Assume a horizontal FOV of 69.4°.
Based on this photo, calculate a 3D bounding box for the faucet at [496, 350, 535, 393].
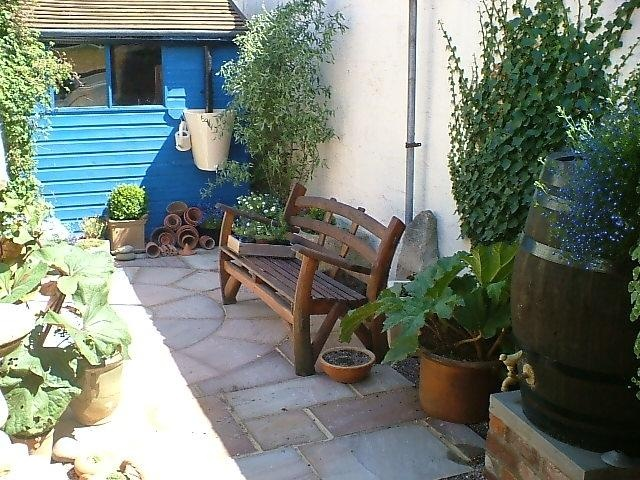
[{"bbox_3d":[0.830,0.568,1.974,0.119,0.164,0.094,-4,-5,33],"label":"faucet"}]

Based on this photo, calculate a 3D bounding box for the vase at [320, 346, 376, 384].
[{"bbox_3d":[0.200,0.921,3.405,0.414,0.152,0.420,0,8,8],"label":"vase"}]

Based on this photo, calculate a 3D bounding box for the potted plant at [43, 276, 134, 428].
[{"bbox_3d":[-1.321,0.667,2.618,0.529,0.700,0.525,31,39,32],"label":"potted plant"}]

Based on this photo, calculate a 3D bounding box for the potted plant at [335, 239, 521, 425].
[{"bbox_3d":[0.698,0.561,2.770,0.866,1.135,0.597,-6,16,-22],"label":"potted plant"}]

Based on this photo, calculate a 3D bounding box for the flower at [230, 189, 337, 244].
[{"bbox_3d":[-0.424,-0.248,5.246,0.837,0.666,1.058,-5,13,-30],"label":"flower"}]

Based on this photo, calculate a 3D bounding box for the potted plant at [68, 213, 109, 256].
[{"bbox_3d":[-2.763,-0.083,5.497,0.324,0.458,0.363,-2,17,-24],"label":"potted plant"}]

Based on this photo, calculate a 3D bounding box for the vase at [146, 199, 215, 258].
[{"bbox_3d":[-1.991,-0.211,6.533,0.742,0.796,0.648,0,15,-16],"label":"vase"}]
